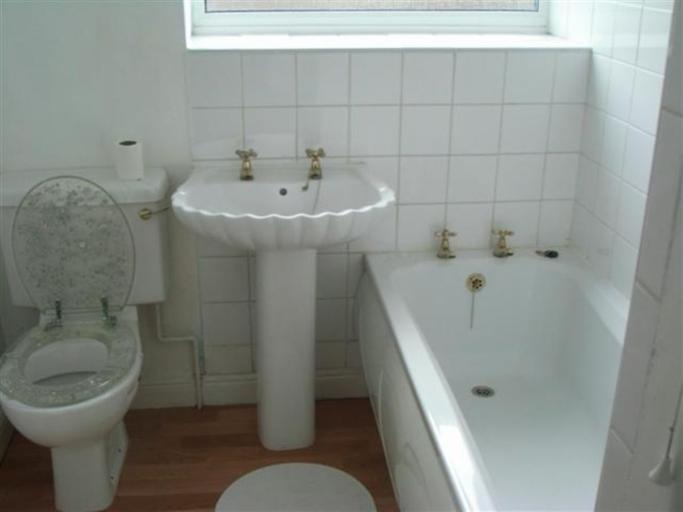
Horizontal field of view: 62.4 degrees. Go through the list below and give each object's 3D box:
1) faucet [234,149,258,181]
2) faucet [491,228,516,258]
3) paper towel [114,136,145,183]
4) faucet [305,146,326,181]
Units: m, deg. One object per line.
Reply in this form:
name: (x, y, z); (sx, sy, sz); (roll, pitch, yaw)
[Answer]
faucet: (-0.368, -0.349, 2.168); (0.069, 0.088, 0.074); (21, 41, 19)
faucet: (0.679, -0.057, 2.372); (0.090, 0.117, 0.064); (4, 37, 14)
paper towel: (-0.797, -0.358, 2.123); (0.106, 0.142, 0.127); (8, 13, -5)
faucet: (-0.099, -0.362, 2.185); (0.079, 0.114, 0.117); (-2, 19, -3)
